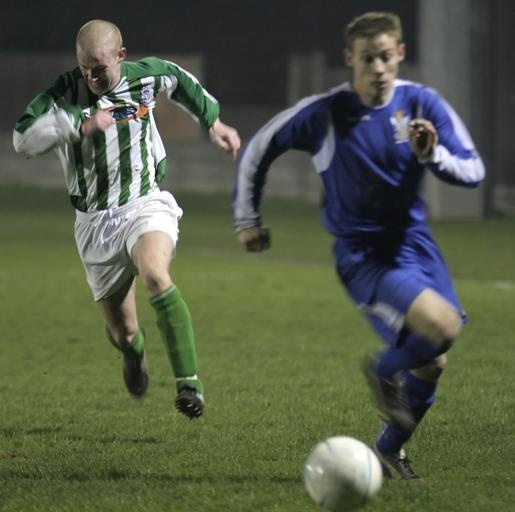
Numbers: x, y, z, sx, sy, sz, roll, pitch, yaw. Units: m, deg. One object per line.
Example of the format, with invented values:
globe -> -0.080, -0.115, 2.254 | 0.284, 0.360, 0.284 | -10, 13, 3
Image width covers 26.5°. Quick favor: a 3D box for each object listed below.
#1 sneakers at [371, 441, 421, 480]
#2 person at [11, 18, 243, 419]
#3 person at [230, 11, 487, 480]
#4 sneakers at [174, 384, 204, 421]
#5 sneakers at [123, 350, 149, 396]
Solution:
sneakers -> 0.578, 0.822, 4.462 | 0.092, 0.118, 0.265 | -28, -26, 20
person -> -0.571, -0.159, 4.957 | 0.813, 1.792, 0.883 | 1, 9, 17
person -> 0.440, -0.062, 4.461 | 0.895, 1.829, 0.411 | 3, 10, 29
sneakers -> -0.291, 0.612, 4.587 | 0.082, 0.154, 0.095 | -9, 41, 4
sneakers -> -0.597, 0.571, 5.334 | 0.075, 0.264, 0.099 | -2, 16, 2
